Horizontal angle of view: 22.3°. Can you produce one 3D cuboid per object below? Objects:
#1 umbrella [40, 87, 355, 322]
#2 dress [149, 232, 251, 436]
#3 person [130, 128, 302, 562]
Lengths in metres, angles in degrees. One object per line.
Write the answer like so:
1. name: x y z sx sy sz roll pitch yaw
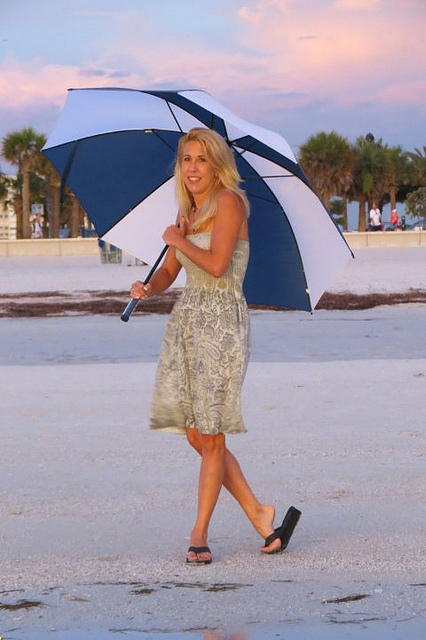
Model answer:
1. umbrella: -0.142 -0.544 4.824 1.357 0.978 0.848 4 5 30
2. dress: -0.048 0.065 4.056 0.373 0.752 0.256 2 5 2
3. person: 0.003 0.058 4.101 0.582 1.578 0.612 0 5 -15
